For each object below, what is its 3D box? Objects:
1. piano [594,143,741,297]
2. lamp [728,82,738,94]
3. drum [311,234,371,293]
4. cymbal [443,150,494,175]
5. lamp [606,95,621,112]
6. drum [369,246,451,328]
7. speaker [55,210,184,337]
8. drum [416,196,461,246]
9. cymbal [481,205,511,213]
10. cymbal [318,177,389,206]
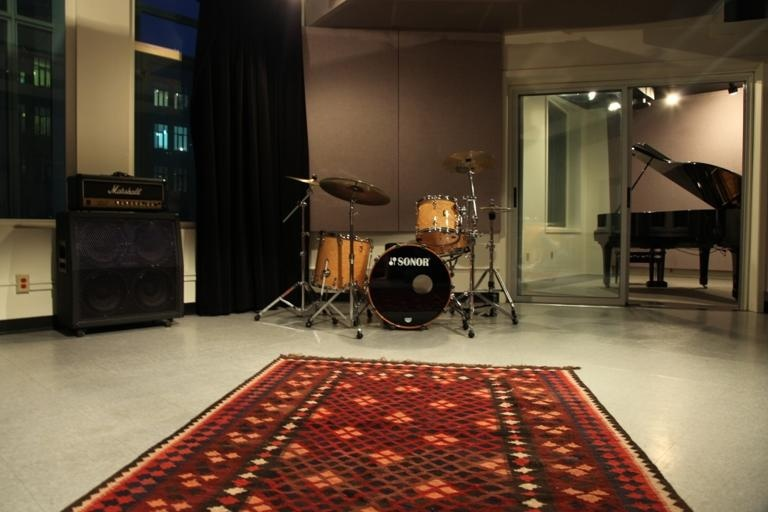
[{"bbox_3d":[3.699,-0.469,7.122,1.777,1.714,1.432,1,-1,23],"label":"piano"},{"bbox_3d":[3.898,-1.879,6.286,0.078,0.091,0.642,9,16,30],"label":"lamp"},{"bbox_3d":[-0.338,0.045,5.368,0.618,0.468,0.596,1,-4,0],"label":"drum"},{"bbox_3d":[0.796,-0.873,5.254,0.451,0.227,0.393,7,15,27],"label":"cymbal"},{"bbox_3d":[2.542,-1.682,6.207,0.147,0.139,0.052,7,-2,27],"label":"lamp"},{"bbox_3d":[0.232,0.267,4.885,0.769,0.712,0.286,0,7,3],"label":"drum"},{"bbox_3d":[-2.332,0.144,4.873,1.143,1.177,0.639,0,-3,-41],"label":"speaker"},{"bbox_3d":[0.478,-0.282,4.908,0.390,0.492,0.333,2,14,5],"label":"drum"},{"bbox_3d":[1.056,-0.454,5.344,0.225,0.067,0.233,0,5,14],"label":"cymbal"},{"bbox_3d":[-0.257,-0.571,4.985,0.579,0.287,0.577,4,14,15],"label":"cymbal"}]
